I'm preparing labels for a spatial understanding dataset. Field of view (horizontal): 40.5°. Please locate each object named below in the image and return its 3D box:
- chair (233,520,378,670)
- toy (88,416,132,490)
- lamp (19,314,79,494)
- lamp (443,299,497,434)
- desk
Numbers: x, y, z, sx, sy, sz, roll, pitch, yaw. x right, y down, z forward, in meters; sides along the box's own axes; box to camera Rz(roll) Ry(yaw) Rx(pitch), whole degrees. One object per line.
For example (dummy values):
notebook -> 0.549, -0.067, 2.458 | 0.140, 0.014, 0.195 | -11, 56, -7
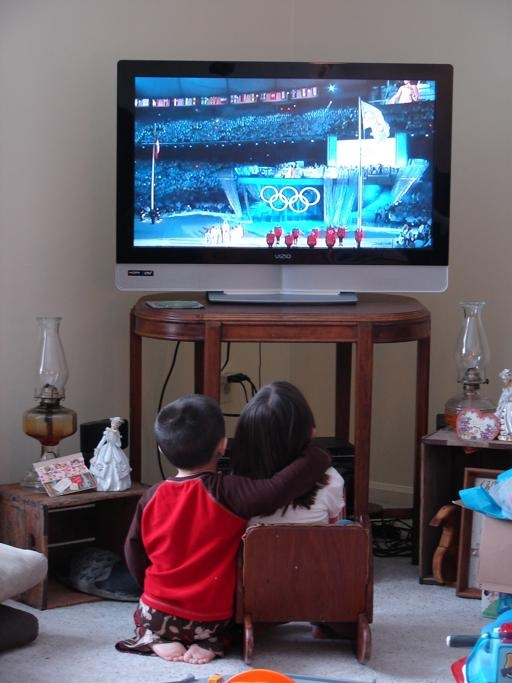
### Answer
chair -> 0.084, 0.502, 1.396 | 0.274, 0.251, 0.226 | 3, -10, -11
toy -> -0.382, 0.299, 1.869 | 0.116, 0.175, 0.108 | 13, -4, 24
lamp -> -0.567, 0.131, 1.921 | 0.138, 0.390, 0.162 | 2, 3, -26
lamp -> 0.653, 0.062, 2.095 | 0.131, 0.384, 0.513 | 4, 3, 17
desk -> 0.170, 0.194, 2.191 | 0.475, 0.620, 0.675 | -11, 10, -25
